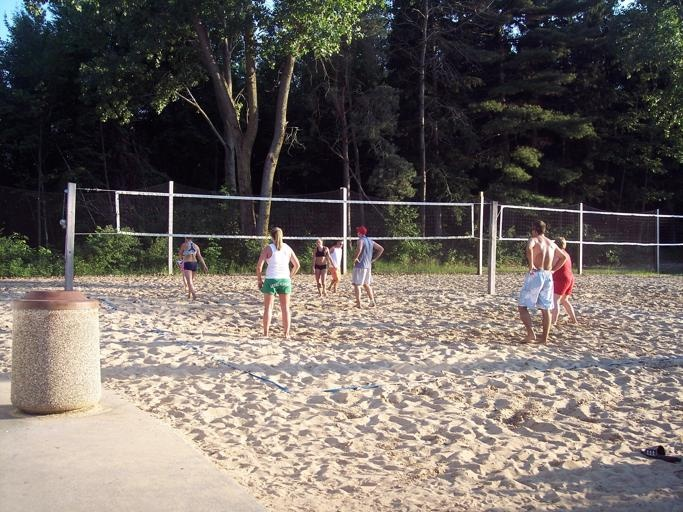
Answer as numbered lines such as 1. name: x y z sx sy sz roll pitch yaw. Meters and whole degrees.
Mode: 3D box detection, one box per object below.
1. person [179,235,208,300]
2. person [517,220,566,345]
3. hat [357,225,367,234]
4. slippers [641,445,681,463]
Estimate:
1. person: -2.931 0.213 13.868 0.492 1.161 1.881 0 8 -12
2. person: 3.080 0.339 10.747 0.567 1.794 1.184 4 8 19
3. hat: 0.402 -0.464 13.039 0.176 0.221 0.242 1 11 -5
4. slippers: 2.998 1.860 6.554 0.162 0.114 0.270 2 -6 -24
